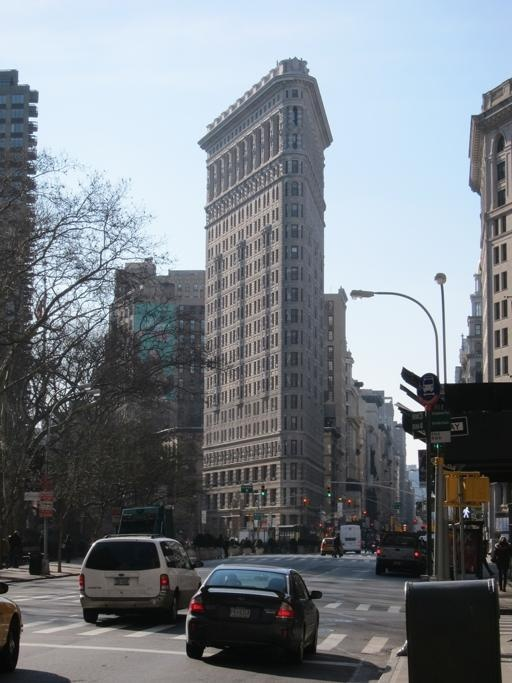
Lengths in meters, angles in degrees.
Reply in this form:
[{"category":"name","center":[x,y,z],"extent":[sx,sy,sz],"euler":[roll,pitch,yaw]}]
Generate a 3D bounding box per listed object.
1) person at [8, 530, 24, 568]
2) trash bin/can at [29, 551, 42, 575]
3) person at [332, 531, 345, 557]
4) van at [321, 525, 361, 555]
[{"category":"person","center":[-9.511,8.272,56.195],"extent":[0.525,1.601,3.131],"euler":[2,-12,-10]},{"category":"trash bin/can","center":[-7.055,7.185,45.616],"extent":[0.387,0.748,1.138],"euler":[2,-12,-10]},{"category":"person","center":[4.557,11.965,82.925],"extent":[1.123,1.228,1.990],"euler":[1,-4,11]},{"category":"van","center":[6.506,14.603,104.309],"extent":[2.206,2.320,4.177],"euler":[0,-5,9]}]
